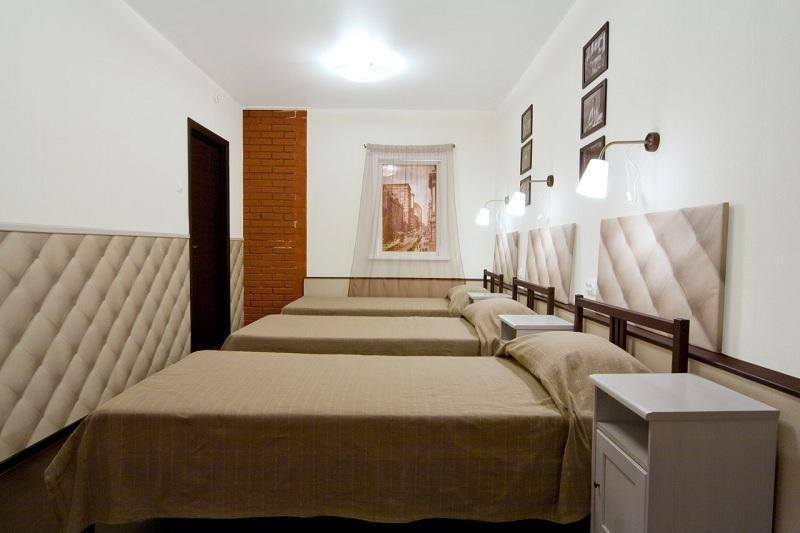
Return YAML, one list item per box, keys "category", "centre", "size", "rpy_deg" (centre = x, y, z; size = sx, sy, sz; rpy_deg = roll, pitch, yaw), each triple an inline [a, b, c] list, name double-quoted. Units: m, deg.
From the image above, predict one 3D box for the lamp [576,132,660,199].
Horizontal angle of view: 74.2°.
- category: "lamp"
  centre: [1.475, -0.704, 3.679]
  size: [0.416, 0.442, 0.453]
  rpy_deg: [1, 4, -20]

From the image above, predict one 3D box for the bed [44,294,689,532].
- category: "bed"
  centre: [-0.329, 1.003, 3.306]
  size: [3.167, 1.222, 0.630]
  rpy_deg: [2, 3, -1]
